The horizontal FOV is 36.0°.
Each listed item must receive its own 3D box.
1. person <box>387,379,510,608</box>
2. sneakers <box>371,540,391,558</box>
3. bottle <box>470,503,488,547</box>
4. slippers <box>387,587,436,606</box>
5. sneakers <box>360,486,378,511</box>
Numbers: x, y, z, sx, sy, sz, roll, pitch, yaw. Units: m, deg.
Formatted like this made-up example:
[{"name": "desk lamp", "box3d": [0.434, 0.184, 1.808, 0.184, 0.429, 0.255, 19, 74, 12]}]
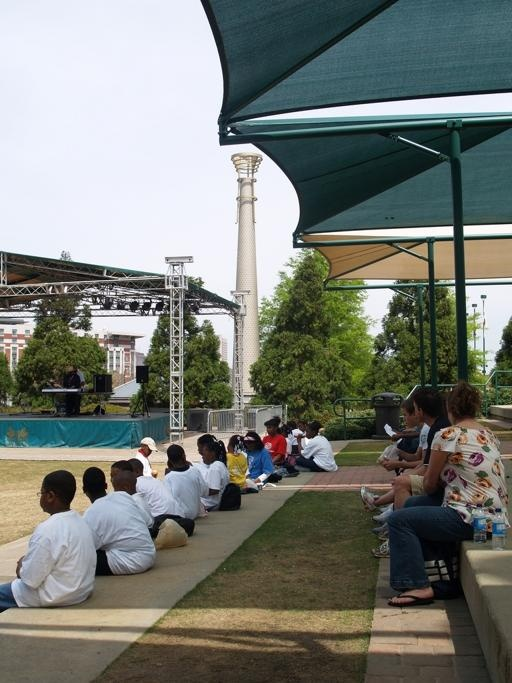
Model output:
[{"name": "person", "box3d": [1.215, 0.978, 4.976, 0.725, 1.421, 0.448, 1, -2, 14]}, {"name": "sneakers", "box3d": [1.079, 1.727, 6.526, 0.138, 0.137, 0.387, -3, -13, 19]}, {"name": "bottle", "box3d": [1.387, 1.130, 4.852, 0.094, 0.202, 0.144, 1, -2, 15]}, {"name": "slippers", "box3d": [1.004, 1.622, 5.019, 0.326, 0.107, 0.109, 0, -4, 2]}, {"name": "sneakers", "box3d": [1.179, 1.630, 8.167, 0.166, 0.301, 0.121, -30, -47, 24]}]
